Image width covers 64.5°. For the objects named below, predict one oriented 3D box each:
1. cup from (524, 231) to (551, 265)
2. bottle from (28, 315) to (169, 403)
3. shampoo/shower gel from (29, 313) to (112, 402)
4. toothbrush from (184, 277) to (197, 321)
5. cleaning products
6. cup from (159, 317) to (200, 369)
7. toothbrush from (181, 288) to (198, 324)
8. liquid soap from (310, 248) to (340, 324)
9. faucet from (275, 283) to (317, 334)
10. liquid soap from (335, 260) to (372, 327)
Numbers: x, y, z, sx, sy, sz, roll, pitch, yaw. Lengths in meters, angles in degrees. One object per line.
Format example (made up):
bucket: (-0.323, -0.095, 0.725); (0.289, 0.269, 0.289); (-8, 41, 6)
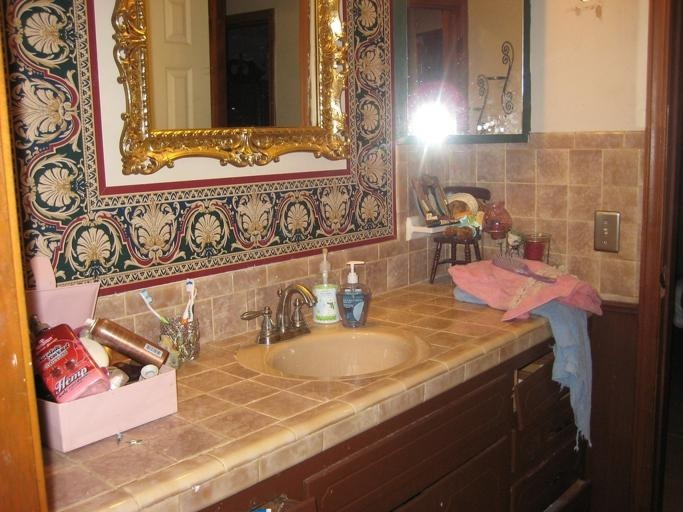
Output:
cup: (0.812, -0.040, 2.266); (0.106, 0.129, 0.112); (-1, 1, 0)
bottle: (-0.562, 0.170, 1.225); (0.229, 0.136, 0.324); (14, 17, 34)
shampoo/shower gel: (-0.595, 0.220, 1.154); (0.241, 0.119, 0.113); (11, 16, 42)
toothbrush: (-0.432, 0.127, 1.553); (0.034, 0.138, 0.023); (7, 0, -15)
cleaning products: (-0.498, 0.203, 1.310); (0.253, 0.084, 0.081); (23, 11, -3)
cup: (-0.441, 0.229, 1.506); (0.110, 0.144, 0.117); (-1, 9, 0)
toothbrush: (-0.437, 0.150, 1.558); (0.034, 0.116, 0.031); (3, -19, 32)
liquid soap: (-0.054, 0.099, 1.907); (0.097, 0.256, 0.093); (3, 6, 39)
faucet: (-0.154, 0.170, 1.727); (0.111, 0.167, 0.187); (-4, 12, -18)
liquid soap: (0.050, 0.126, 1.829); (0.106, 0.211, 0.111); (8, 14, 35)
